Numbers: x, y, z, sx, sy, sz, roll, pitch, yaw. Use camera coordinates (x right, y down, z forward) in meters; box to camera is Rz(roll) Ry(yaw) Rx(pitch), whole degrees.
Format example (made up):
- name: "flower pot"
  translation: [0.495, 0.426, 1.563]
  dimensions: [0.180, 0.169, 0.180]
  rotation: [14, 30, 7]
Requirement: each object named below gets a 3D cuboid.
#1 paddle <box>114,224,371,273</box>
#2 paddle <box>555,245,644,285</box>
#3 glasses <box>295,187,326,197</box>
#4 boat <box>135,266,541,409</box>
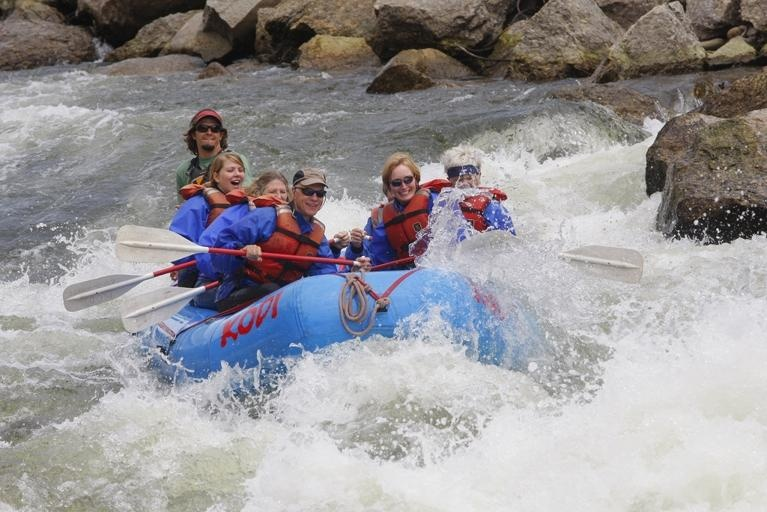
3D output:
- name: "paddle"
  translation: [-1.797, -0.059, 8.700]
  dimensions: [1.964, 0.475, 0.080]
  rotation: [4, 28, -2]
- name: "paddle"
  translation: [2.180, 0.064, 8.290]
  dimensions: [0.934, 0.309, 0.156]
  rotation: [6, 15, 18]
- name: "glasses"
  translation: [-0.738, -0.659, 8.765]
  dimensions: [0.275, 0.119, 0.107]
  rotation: [-8, 16, -24]
- name: "boat"
  translation: [-0.357, 0.590, 8.067]
  dimensions: [2.860, 0.534, 1.489]
  rotation: [-6, 9, -11]
